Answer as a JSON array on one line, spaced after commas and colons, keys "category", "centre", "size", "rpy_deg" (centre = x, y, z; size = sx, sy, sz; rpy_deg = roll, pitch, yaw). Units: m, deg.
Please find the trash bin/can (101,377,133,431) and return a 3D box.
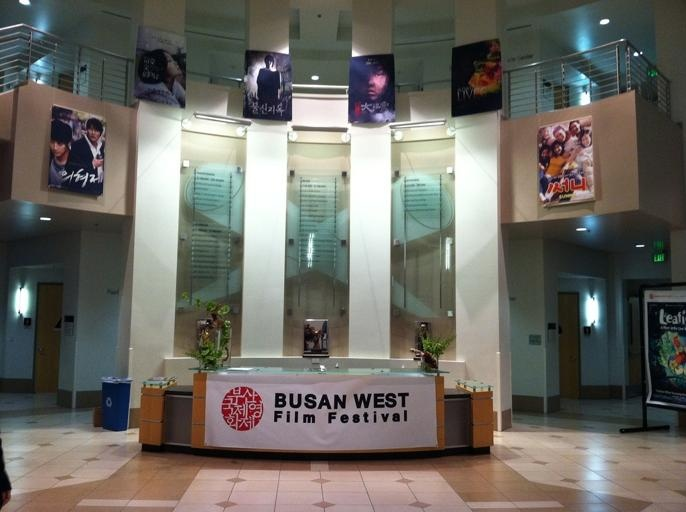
[{"category": "trash bin/can", "centre": [-3.989, 2.632, 10.169], "size": [0.441, 1.105, 0.767], "rpy_deg": [5, -10, -44]}]
